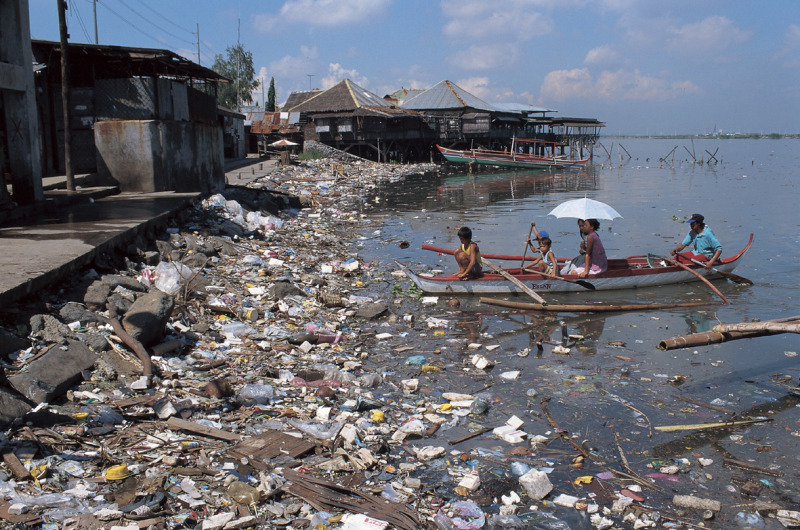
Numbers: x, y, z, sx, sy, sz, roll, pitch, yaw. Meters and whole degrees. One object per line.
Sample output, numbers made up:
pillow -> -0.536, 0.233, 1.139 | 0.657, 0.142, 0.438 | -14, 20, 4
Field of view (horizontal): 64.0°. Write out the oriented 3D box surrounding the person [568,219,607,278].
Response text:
person -> 3.853, -0.406, 12.948 | 0.702, 1.155, 0.900 | 1, 14, 14

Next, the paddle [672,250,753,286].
paddle -> 6.663, 0.073, 13.715 | 2.125, 0.203, 0.106 | 20, 4, 2

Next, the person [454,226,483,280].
person -> 1.348, -0.268, 12.578 | 0.508, 1.006, 0.619 | -2, 14, 4

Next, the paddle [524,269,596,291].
paddle -> 3.160, 0.291, 12.663 | 1.477, 0.149, 0.122 | 12, 21, -4

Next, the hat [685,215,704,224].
hat -> 6.237, -0.982, 13.435 | 0.522, 0.198, 0.317 | 4, 10, 21

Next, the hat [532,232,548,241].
hat -> 2.912, -0.608, 13.042 | 0.306, 0.108, 0.395 | 8, 9, 18
